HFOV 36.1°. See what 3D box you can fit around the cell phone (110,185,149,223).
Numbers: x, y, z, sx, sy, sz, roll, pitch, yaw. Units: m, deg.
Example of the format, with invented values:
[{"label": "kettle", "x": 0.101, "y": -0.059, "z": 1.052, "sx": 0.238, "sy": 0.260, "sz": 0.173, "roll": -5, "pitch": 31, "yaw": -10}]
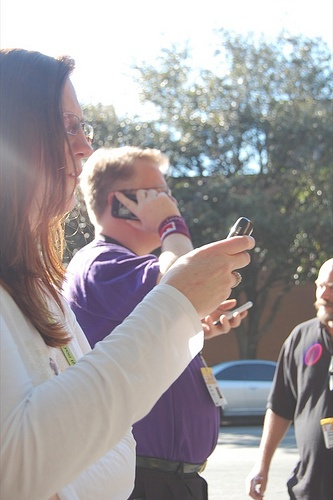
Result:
[{"label": "cell phone", "x": -0.141, "y": -0.171, "z": 1.942, "sx": 0.152, "sy": 0.084, "sz": 0.016, "roll": 3, "pitch": -14, "yaw": 40}]
